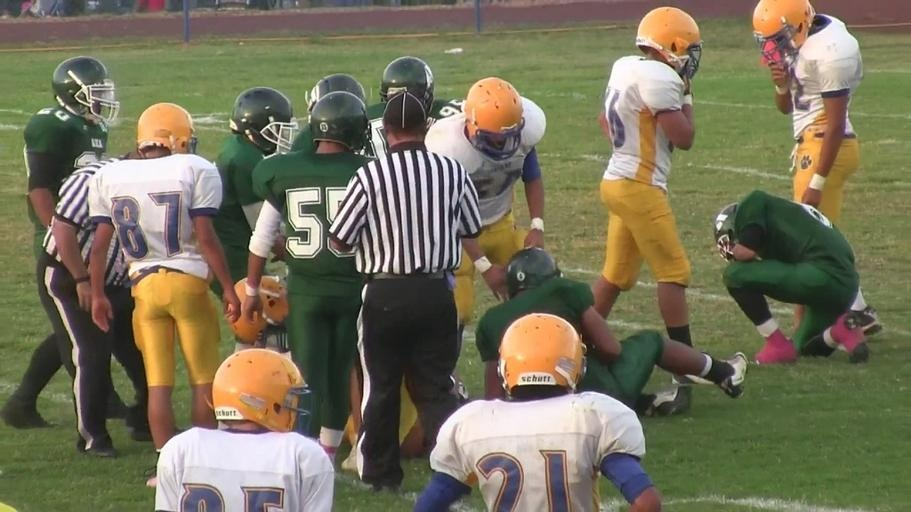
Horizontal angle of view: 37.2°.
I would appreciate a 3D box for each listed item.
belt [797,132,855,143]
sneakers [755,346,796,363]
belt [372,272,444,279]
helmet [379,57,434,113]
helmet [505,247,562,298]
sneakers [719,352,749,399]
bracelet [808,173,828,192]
[{"bbox_3d":[3.835,-1.253,14.377,0.297,0.082,0.205,1,-3,4],"label":"belt"},{"bbox_3d":[3.225,1.008,13.798,0.340,0.192,0.173,5,-2,0],"label":"sneakers"},{"bbox_3d":[-0.421,0.181,12.209,0.663,0.062,0.090,-1,10,-6],"label":"belt"},{"bbox_3d":[-0.442,-1.748,13.706,0.482,0.584,0.584,0,42,-1],"label":"helmet"},{"bbox_3d":[0.725,0.161,12.848,0.583,0.510,0.454,7,18,13],"label":"helmet"},{"bbox_3d":[2.703,1.163,13.144,0.198,0.239,0.523,-21,37,32],"label":"sneakers"},{"bbox_3d":[3.738,-0.759,14.192,0.181,0.172,0.189,22,7,30],"label":"bracelet"}]
